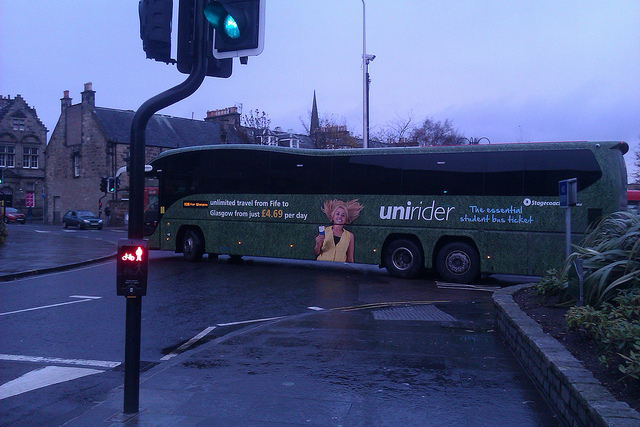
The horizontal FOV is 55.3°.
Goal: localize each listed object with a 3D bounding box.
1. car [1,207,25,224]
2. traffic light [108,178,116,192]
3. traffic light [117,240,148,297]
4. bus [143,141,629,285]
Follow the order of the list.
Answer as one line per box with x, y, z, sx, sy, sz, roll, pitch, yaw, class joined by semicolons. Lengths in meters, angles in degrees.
-27.223;0.190;54.305;3.477;1.297;1.628;-6;-7;42;car
-10.401;-1.455;30.617;0.504;0.847;0.198;3;-14;-27;traffic light
-2.296;0.679;7.514;0.355;0.714;0.190;-2;5;-13;traffic light
1.241;-0.039;20.726;15.684;4.622;4.445;2;-6;21;bus
